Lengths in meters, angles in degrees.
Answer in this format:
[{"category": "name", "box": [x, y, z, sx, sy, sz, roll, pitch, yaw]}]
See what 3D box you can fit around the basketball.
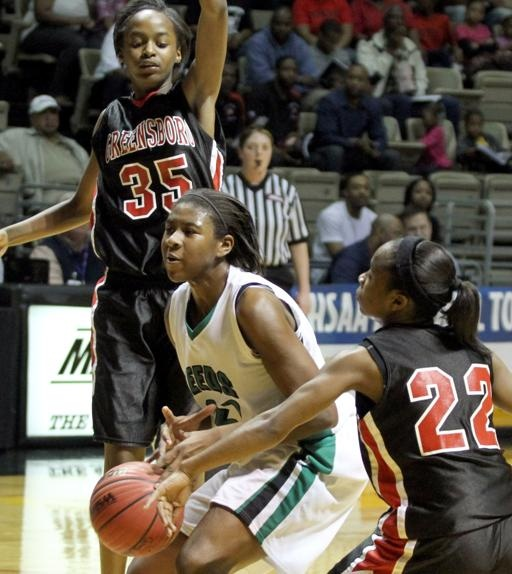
[{"category": "basketball", "box": [-0.267, 0.509, 1.869, 0.232, 0.214, 0.207, 4, 5, -9]}]
